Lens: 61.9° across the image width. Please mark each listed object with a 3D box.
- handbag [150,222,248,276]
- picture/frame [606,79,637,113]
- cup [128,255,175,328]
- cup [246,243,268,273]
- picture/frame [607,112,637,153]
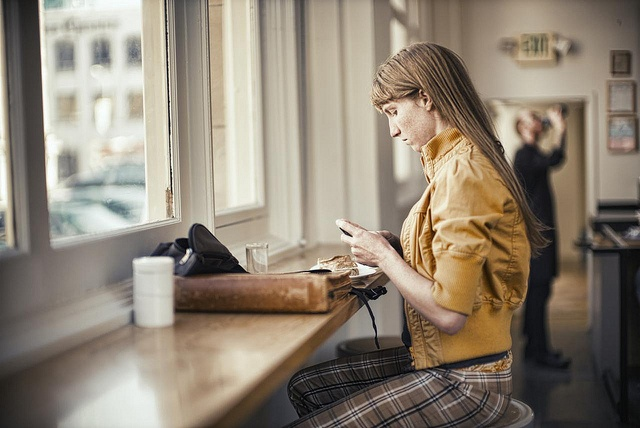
[{"bbox_3d":[-0.361,0.119,1.572,0.206,0.083,0.167,23,-11,-40],"label":"handbag"},{"bbox_3d":[1.103,-0.441,1.961,0.114,0.141,0.010,0,2,7],"label":"picture/frame"},{"bbox_3d":[-0.462,0.205,1.513,0.132,0.215,0.132,-7,-22,-3],"label":"cup"},{"bbox_3d":[-0.210,0.147,1.813,0.088,0.143,0.087,0,-3,0],"label":"cup"},{"bbox_3d":[1.111,-0.310,1.973,0.134,0.199,0.025,1,-2,2],"label":"picture/frame"}]
